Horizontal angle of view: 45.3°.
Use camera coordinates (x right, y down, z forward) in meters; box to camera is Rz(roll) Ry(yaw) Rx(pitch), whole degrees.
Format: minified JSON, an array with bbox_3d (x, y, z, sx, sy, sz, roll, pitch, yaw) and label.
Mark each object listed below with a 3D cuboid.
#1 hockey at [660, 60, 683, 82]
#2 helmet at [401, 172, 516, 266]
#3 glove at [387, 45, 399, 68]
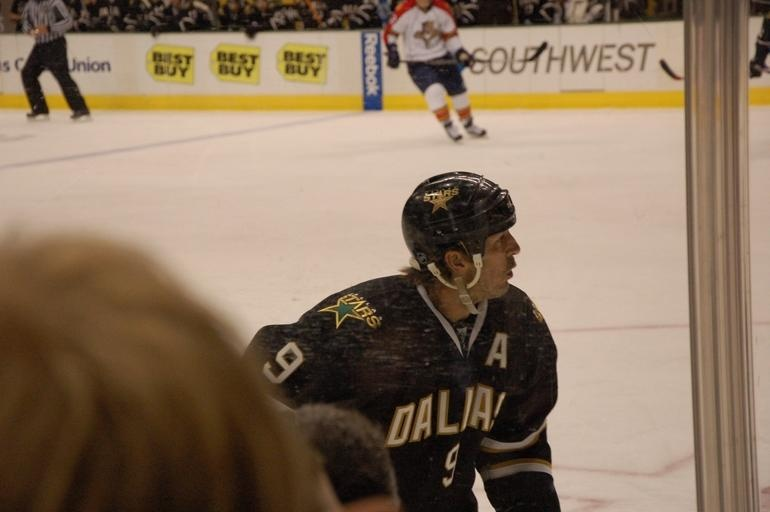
[{"bbox_3d":[0.711,-0.464,2.304,0.020,0.057,0.010,-47,0,-35],"label":"hockey"},{"bbox_3d":[0.190,-0.106,2.349,0.234,0.195,0.205,-7,11,6],"label":"helmet"},{"bbox_3d":[0.018,-0.506,2.341,0.030,0.050,0.019,2,33,6],"label":"glove"}]
